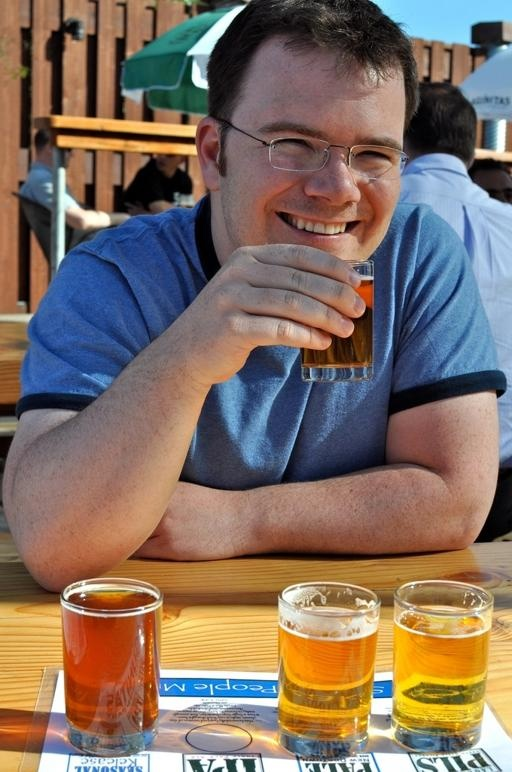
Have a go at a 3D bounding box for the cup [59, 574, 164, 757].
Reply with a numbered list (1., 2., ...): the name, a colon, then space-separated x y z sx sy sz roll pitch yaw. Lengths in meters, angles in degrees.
1. cup: -0.149 0.275 0.767 0.100 0.140 0.144 1 4 -13

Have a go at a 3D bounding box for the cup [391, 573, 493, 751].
1. cup: 0.194 0.287 0.793 0.098 0.135 0.146 3 5 17

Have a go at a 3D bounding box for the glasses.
1. glasses: 0.117 -0.452 1.450 0.314 0.104 0.111 2 4 -1

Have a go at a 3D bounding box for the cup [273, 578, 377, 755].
1. cup: 0.071 0.281 0.758 0.099 0.145 0.115 3 4 7
